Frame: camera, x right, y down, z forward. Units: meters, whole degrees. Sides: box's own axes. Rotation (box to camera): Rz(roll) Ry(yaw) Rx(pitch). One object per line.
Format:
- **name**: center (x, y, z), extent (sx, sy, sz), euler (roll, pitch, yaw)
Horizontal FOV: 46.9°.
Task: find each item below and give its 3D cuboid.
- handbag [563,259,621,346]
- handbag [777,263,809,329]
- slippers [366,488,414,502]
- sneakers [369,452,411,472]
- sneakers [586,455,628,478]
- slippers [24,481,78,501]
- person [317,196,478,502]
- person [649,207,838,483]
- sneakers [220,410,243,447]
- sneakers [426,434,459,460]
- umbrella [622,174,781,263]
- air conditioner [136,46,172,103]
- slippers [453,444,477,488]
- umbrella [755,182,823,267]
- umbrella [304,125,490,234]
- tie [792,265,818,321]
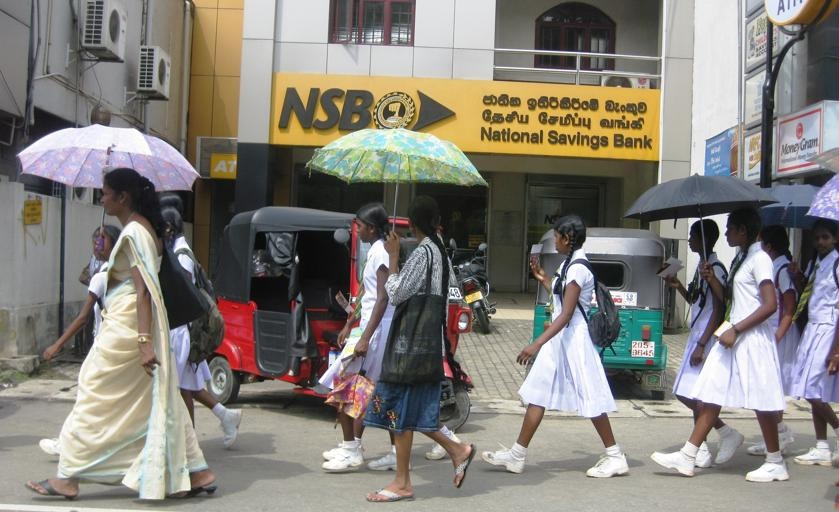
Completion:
- **handbag**: center (2.232, 0.636, 12.589), extent (0.706, 1.278, 1.093), euler (-12, 7, 5)
- **handbag**: center (5.101, 0.509, 12.931), extent (0.381, 0.831, 0.605), euler (9, -4, 7)
- **slippers**: center (-0.368, 2.783, 11.431), extent (0.407, 0.099, 0.200), euler (4, -8, -9)
- **sneakers**: center (-0.371, 2.608, 12.342), extent (0.570, 0.259, 0.222), euler (2, -1, -4)
- **sneakers**: center (2.359, 2.615, 12.123), extent (0.589, 0.292, 0.224), euler (-2, 1, 0)
- **slippers**: center (-4.237, 2.682, 11.131), extent (0.503, 0.147, 0.270), euler (18, -5, -29)
- **person**: center (-0.012, 1.074, 11.567), extent (1.263, 3.481, 0.995), euler (1, 10, -4)
- **person**: center (4.058, 1.123, 12.136), extent (1.328, 3.266, 1.054), euler (4, 11, 14)
- **sneakers**: center (-2.470, 2.176, 12.633), extent (0.239, 0.560, 0.204), euler (1, 18, -11)
- **sneakers**: center (0.218, 2.485, 12.484), extent (0.230, 0.299, 0.699), euler (-1, -6, 28)
- **umbrella**: center (3.401, -0.627, 12.487), extent (1.135, 0.696, 1.149), euler (-9, -16, 34)
- **air conditioner**: center (-5.515, -3.764, 19.836), extent (0.581, 1.064, 0.695), euler (1, 10, -4)
- **slippers**: center (0.536, 2.486, 11.530), extent (0.156, 0.579, 0.222), euler (13, 14, 9)
- **umbrella**: center (5.255, -0.576, 13.661), extent (0.779, 0.789, 0.777), euler (5, -21, 3)
- **umbrella**: center (-0.345, -1.000, 12.817), extent (1.489, 0.942, 1.554), euler (-1, -8, 36)
- **tie**: center (5.078, 0.480, 12.721), extent (0.177, 0.975, 0.136), euler (8, 8, -13)
